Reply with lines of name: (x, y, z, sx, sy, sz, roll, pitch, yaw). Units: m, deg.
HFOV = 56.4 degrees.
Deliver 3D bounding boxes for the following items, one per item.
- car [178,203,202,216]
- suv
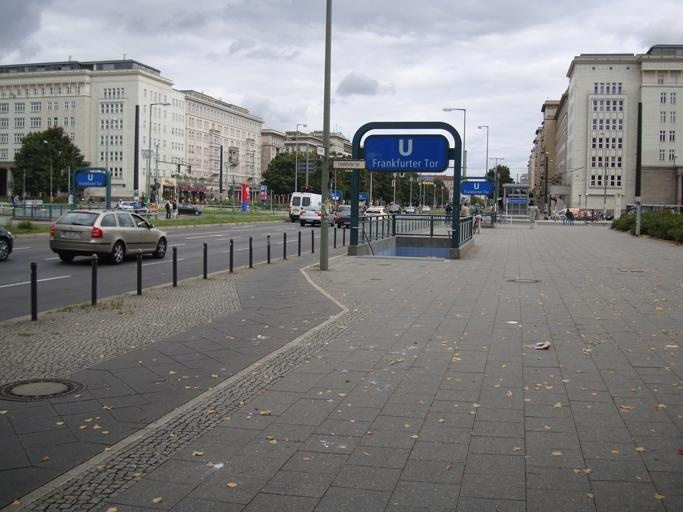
car: (-16.515, -4.964, 69.100, 2.505, 1.106, 1.455, -2, 7, -1)
suv: (-7.314, -0.635, 20.512, 3.765, 1.705, 2.339, -2, 6, -28)
